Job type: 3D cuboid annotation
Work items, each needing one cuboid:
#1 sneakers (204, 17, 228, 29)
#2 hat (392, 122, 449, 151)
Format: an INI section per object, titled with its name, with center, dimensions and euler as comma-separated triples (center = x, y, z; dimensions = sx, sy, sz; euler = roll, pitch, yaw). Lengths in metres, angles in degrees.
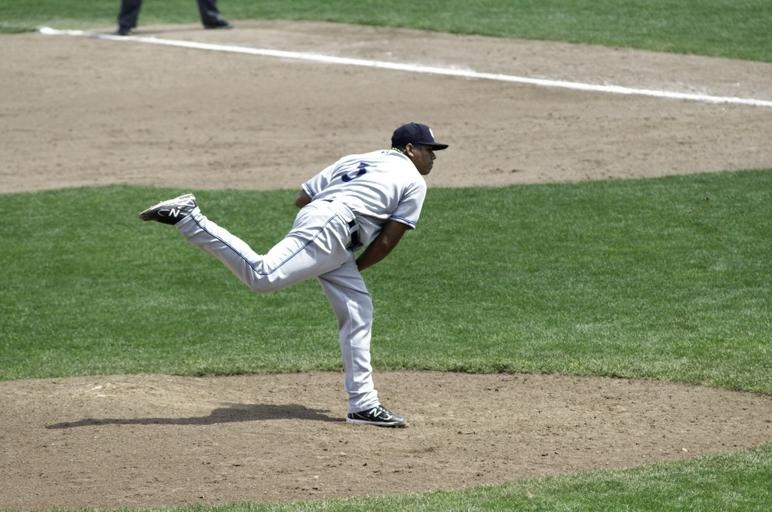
[sneakers]
center = -3.308, -4.559, 34.000
dimensions = 0.412, 0.160, 0.191
euler = -1, 8, 2
[hat]
center = 0.445, -1.655, 24.105
dimensions = 0.673, 0.302, 0.381
euler = -1, 7, -4
